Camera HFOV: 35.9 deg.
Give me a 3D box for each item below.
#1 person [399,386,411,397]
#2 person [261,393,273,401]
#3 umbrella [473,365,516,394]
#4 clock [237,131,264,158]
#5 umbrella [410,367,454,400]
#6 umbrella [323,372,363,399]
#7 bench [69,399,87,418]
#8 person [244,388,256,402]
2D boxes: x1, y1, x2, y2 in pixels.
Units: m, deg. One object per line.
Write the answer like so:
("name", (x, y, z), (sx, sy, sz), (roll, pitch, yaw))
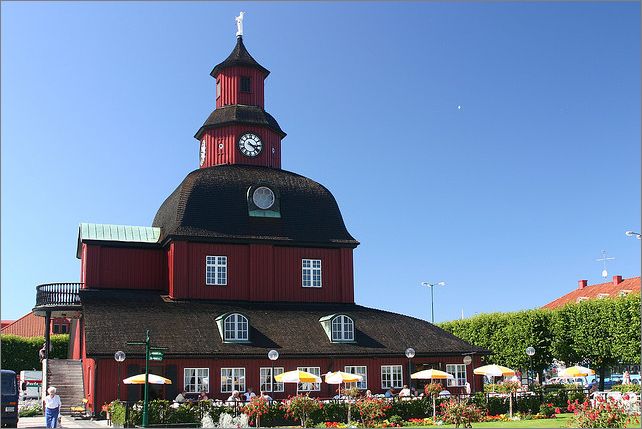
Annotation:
("person", (6.066, 12.771, 70.857), (0.640, 1.217, 0.652), (-3, -13, 18))
("person", (-3.739, 12.607, 67.957), (0.460, 0.844, 0.787), (-21, -26, 36))
("umbrella", (12.421, 12.113, 71.475), (2.166, 1.465, 2.201), (-2, -6, 31))
("clock", (-5.933, -5.719, 81.524), (2.040, 2.107, 0.219), (6, -16, -13))
("umbrella", (8.037, 12.171, 71.153), (2.255, 1.459, 2.310), (-2, -5, 20))
("umbrella", (1.376, 11.971, 68.953), (2.059, 1.447, 2.107), (1, -6, 2))
("bench", (-16.689, 13.560, 68.410), (1.152, 1.387, 0.898), (1, -18, -12))
("person", (-4.960, 12.525, 68.291), (0.902, 0.981, 0.296), (8, -25, -25))
